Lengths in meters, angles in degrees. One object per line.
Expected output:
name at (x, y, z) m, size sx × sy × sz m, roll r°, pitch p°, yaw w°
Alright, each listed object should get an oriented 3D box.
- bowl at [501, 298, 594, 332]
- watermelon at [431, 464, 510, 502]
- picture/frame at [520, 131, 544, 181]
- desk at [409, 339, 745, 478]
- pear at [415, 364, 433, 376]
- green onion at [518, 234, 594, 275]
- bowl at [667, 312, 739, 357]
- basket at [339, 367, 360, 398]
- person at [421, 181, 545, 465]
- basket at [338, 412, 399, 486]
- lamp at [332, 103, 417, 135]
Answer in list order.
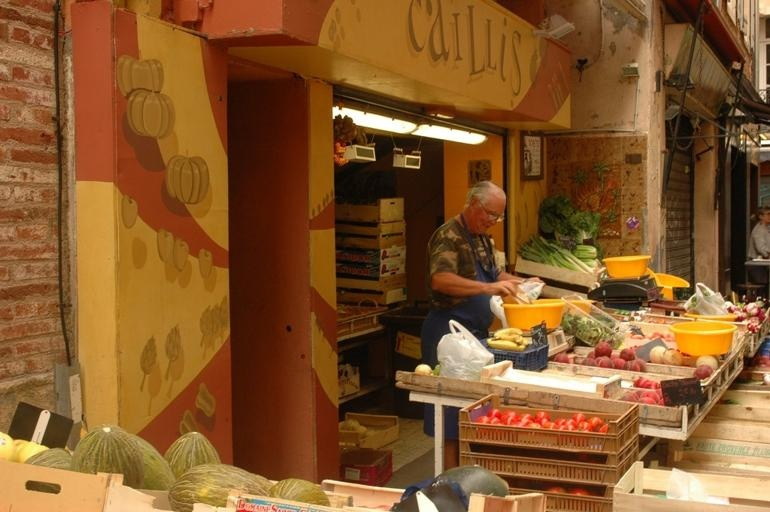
bowl at (1.343, 0.456, 6.044) m, size 0.690 × 0.259 × 0.760 m, roll 0°, pitch 3°, yaw 30°
watermelon at (0.389, 1.046, 3.229) m, size 0.313 × 0.118 × 0.268 m, roll 3°, pitch 6°, yaw 18°
picture/frame at (1.985, -1.383, 9.687) m, size 0.043 × 0.978 × 0.636 m, roll -3°, pitch -7°, yaw 31°
desk at (1.301, 0.923, 5.178) m, size 1.290 × 1.312 × 2.500 m, roll 1°, pitch 3°, yaw 34°
pear at (0.282, 0.824, 5.195) m, size 0.082 × 0.090 × 0.087 m, roll -5°, pitch -2°, yaw 19°
green onion at (2.338, -0.023, 9.540) m, size 0.933 × 0.545 × 0.893 m, roll 2°, pitch 21°, yaw 18°
bowl at (2.548, 0.609, 5.686) m, size 0.544 × 0.356 × 0.362 m, roll 9°, pitch 26°, yaw 26°
basket at (-0.444, 1.412, 7.910) m, size 0.301 × 0.234 × 0.166 m, roll -8°, pitch 23°, yaw -26°
person at (0.857, 0.443, 6.269) m, size 0.825 × 2.461 × 0.850 m, roll 1°, pitch 1°, yaw 37°
basket at (-0.238, 1.876, 7.032) m, size 0.862 × 0.497 × 0.742 m, roll 0°, pitch 1°, yaw 21°
lamp at (-0.095, -1.331, 6.955) m, size 0.414 × 0.138 × 1.422 m, roll 4°, pitch 7°, yaw 27°
